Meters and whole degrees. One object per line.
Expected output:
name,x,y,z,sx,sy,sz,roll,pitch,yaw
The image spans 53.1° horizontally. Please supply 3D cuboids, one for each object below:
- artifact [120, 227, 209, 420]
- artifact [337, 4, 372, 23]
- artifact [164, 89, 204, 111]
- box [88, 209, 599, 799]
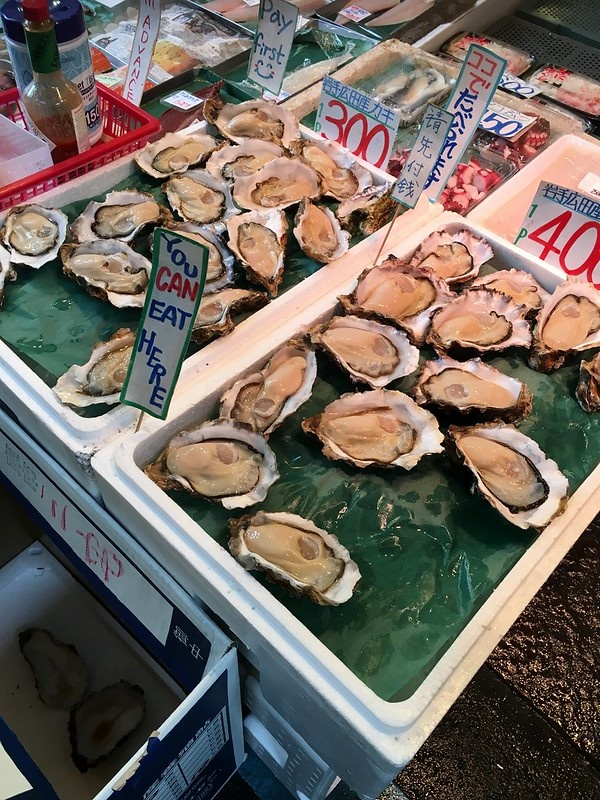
artifact,-0.228,-0.105,0.973,0.146,0.374,0.040,33,46,20
artifact,0.255,-1.787,2.775,0.135,0.045,0.139,29,44,18
artifact,-0.447,-1.143,2.285,0.121,0.028,0.121,34,59,23
box,0.112,0.321,1.507,0.976,0.893,0.915,-26,55,-35
